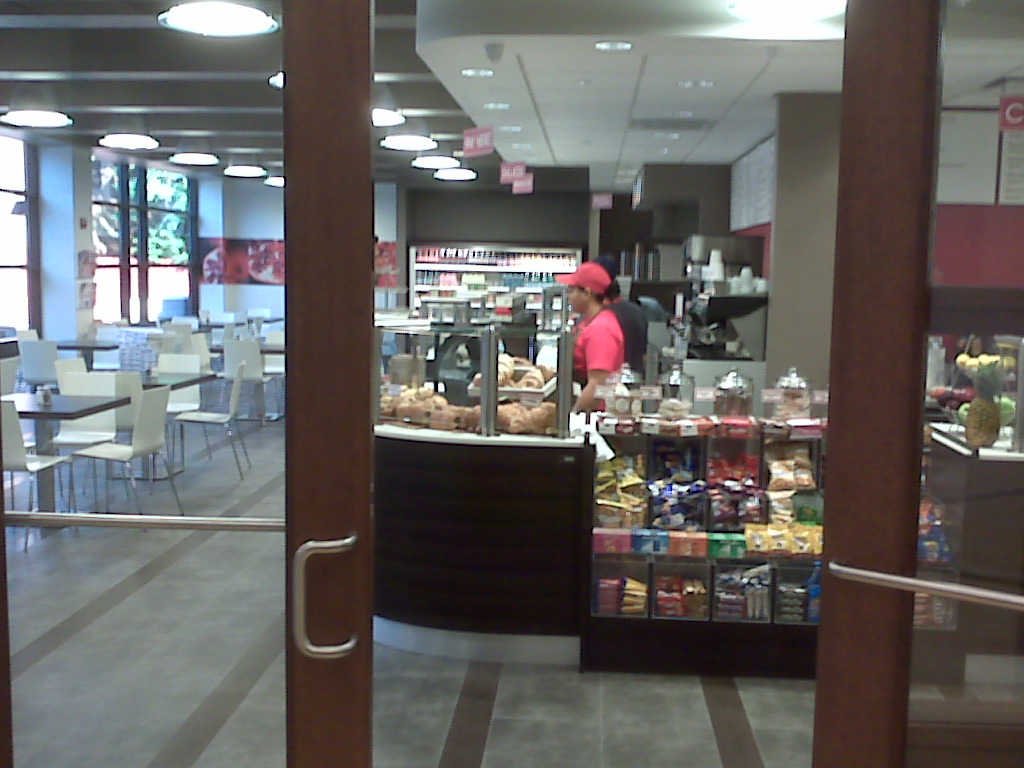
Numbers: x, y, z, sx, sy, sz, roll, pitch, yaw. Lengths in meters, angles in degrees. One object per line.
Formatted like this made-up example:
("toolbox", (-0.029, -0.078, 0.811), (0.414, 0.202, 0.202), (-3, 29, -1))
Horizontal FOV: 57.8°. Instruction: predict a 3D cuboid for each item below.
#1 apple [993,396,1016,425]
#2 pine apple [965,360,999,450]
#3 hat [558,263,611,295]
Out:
("apple", (1.128, 0.056, 2.120), (0.052, 0.076, 0.043), (0, 19, 35))
("pine apple", (1.095, 0.053, 2.150), (0.068, 0.187, 0.066), (9, -4, -5))
("hat", (0.410, -0.594, 5.241), (0.277, 0.150, 0.181), (9, 23, 9))
